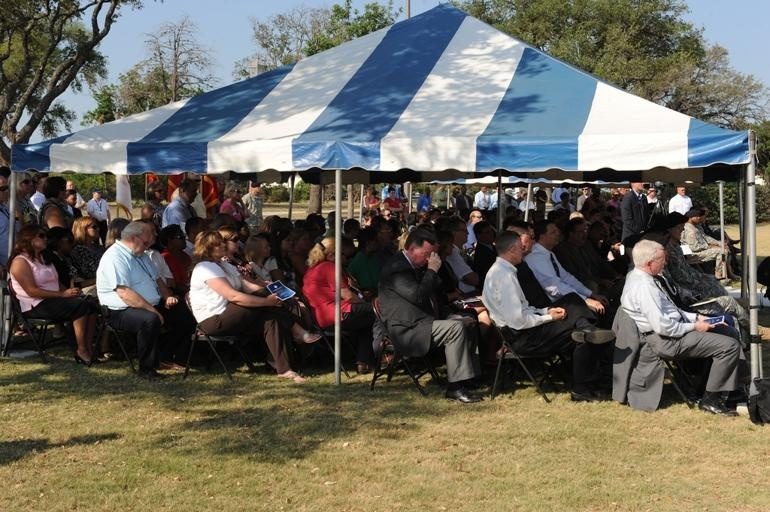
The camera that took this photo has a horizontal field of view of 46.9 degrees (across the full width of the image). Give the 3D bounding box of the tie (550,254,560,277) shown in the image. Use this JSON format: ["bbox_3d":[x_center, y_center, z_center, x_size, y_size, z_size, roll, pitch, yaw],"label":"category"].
[{"bbox_3d":[2.247,0.108,11.749,0.057,0.248,0.250,-10,-4,15],"label":"tie"}]

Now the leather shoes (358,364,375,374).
[{"bbox_3d":[-0.233,1.434,11.421,0.097,0.175,0.177,-1,1,19],"label":"leather shoes"}]

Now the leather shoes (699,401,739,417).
[{"bbox_3d":[3.770,1.713,10.087,0.346,0.166,0.144,2,0,18],"label":"leather shoes"}]

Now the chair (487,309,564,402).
[{"bbox_3d":[1.752,1.337,10.965,0.942,1.381,0.741,-5,-6,31],"label":"chair"}]

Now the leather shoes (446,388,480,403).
[{"bbox_3d":[0.911,1.648,10.499,0.363,0.151,0.161,1,2,12],"label":"leather shoes"}]

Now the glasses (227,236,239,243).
[{"bbox_3d":[-1.968,-0.231,11.509,0.066,0.071,0.236,-1,-1,18],"label":"glasses"}]

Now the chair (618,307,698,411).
[{"bbox_3d":[3.232,1.115,10.411,0.799,1.323,1.072,-11,-8,40],"label":"chair"}]

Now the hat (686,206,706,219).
[{"bbox_3d":[5.563,-0.802,15.986,0.370,0.130,0.371,1,10,40],"label":"hat"}]

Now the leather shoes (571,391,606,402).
[{"bbox_3d":[2.407,1.639,10.520,0.355,0.151,0.141,-2,0,6],"label":"leather shoes"}]

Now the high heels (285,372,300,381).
[{"bbox_3d":[-1.133,1.499,11.168,0.080,0.052,0.193,-3,7,-35],"label":"high heels"}]

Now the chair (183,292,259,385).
[{"bbox_3d":[-2.194,1.108,11.344,0.970,1.426,0.885,-4,-5,26],"label":"chair"}]

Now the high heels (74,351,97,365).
[{"bbox_3d":[-3.926,1.343,11.705,0.261,0.136,0.141,-1,-2,15],"label":"high heels"}]

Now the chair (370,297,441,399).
[{"bbox_3d":[0.266,1.088,11.143,0.872,1.169,1.188,-1,-1,3],"label":"chair"}]
